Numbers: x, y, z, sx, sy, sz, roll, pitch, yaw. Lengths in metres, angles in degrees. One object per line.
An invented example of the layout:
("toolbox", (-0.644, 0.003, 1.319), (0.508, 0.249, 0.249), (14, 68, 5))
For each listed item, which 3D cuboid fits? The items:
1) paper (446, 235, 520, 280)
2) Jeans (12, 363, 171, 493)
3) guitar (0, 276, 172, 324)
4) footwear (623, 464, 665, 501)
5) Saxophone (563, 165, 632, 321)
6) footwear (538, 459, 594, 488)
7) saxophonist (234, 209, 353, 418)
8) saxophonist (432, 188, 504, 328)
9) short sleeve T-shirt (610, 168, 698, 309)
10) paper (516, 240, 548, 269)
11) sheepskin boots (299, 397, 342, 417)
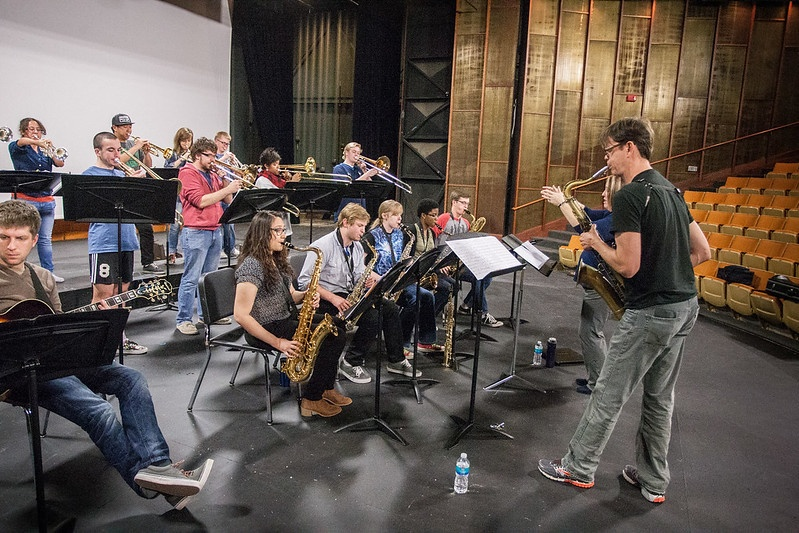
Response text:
("paper", (0.684, -0.104, 4.637), (0.552, 0.233, 0.401), (-15, 46, -43))
("Jeans", (-2.137, 1.243, 4.163), (0.892, 0.944, 0.370), (0, 11, 11))
("guitar", (-2.345, 0.262, 4.223), (1.150, 0.373, 0.153), (-15, -1, -24))
("footwear", (1.929, 1.758, 4.434), (0.130, 0.158, 0.343), (-7, 22, -20))
("Saxophone", (1.675, -0.007, 4.605), (0.460, 1.140, 0.294), (1, 52, 34))
("footwear", (1.366, 1.664, 4.542), (0.417, 0.184, 0.180), (15, 9, 19))
("saxophonist", (-0.996, 0.438, 5.156), (0.944, 1.900, 0.661), (-3, 11, -3))
("saxophonist", (0.949, -0.134, 7.616), (0.993, 1.778, 0.818), (8, 10, 32))
("short sleeve T-shirt", (1.908, -0.206, 4.138), (0.655, 1.037, 0.334), (-1, 11, 7))
("paper", (1.268, -0.071, 5.441), (0.301, 0.081, 0.294), (36, 40, 15))
("sheepskin boots", (-0.734, 1.323, 5.167), (0.305, 0.123, 0.165), (-1, 0, -3))
